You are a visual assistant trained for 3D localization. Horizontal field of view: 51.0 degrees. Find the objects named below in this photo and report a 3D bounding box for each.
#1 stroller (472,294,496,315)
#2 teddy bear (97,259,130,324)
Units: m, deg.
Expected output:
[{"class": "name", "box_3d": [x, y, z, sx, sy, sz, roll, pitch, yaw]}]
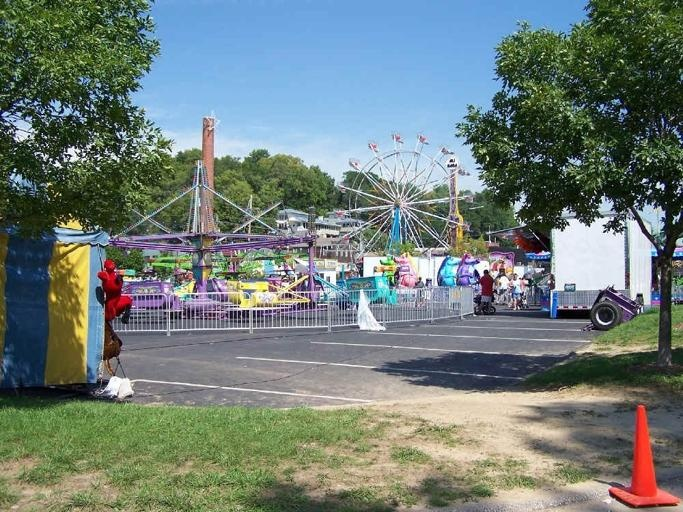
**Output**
[{"class": "stroller", "box_3d": [6.296, 2.177, 31.530, 1.214, 0.748, 0.699, -1, -6, 10]}, {"class": "teddy bear", "box_3d": [-4.090, 0.610, 12.963, 0.533, 1.116, 1.178, 0, -2, -13]}]
